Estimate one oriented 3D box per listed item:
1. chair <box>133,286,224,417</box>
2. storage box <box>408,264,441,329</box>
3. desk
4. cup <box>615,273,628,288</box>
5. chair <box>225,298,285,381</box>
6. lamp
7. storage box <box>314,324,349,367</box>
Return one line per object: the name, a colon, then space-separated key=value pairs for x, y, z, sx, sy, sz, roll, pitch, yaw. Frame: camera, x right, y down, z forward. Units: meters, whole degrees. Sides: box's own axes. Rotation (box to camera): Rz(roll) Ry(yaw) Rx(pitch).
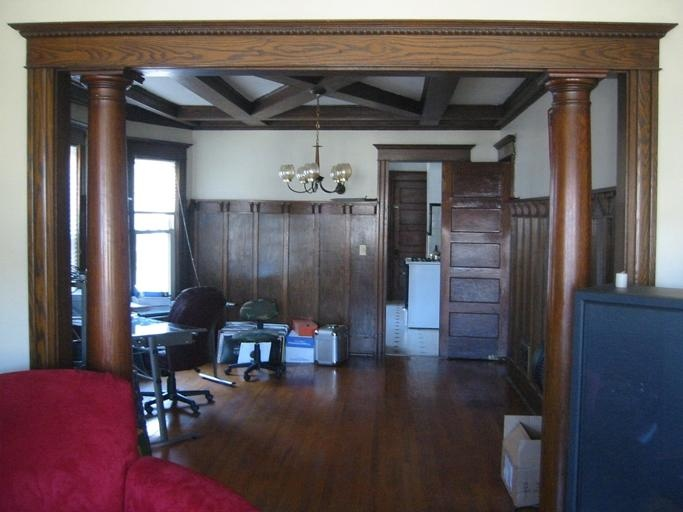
chair: x=-1.564 y=0.834 z=5.566 sx=0.960 sy=1.456 sz=1.053 roll=1 pitch=-1 yaw=5
storage box: x=1.439 y=0.710 z=9.267 sx=0.572 sy=1.063 sz=0.806 roll=-1 pitch=-11 yaw=21
desk: x=-1.561 y=0.869 z=4.565 sx=0.910 sy=0.798 sz=1.585 roll=-5 pitch=8 yaw=-33
cup: x=1.496 y=0.133 z=3.060 sx=0.079 sy=0.095 sz=0.081 roll=-1 pitch=0 yaw=0
chair: x=-0.945 y=0.912 z=6.345 sx=0.638 sy=0.843 sz=0.653 roll=-2 pitch=-2 yaw=17
lamp: x=-0.284 y=-1.334 z=6.632 sx=0.769 sy=1.233 sz=0.817 roll=0 pitch=2 yaw=-43
storage box: x=-0.116 y=1.096 z=6.913 sx=0.321 sy=0.421 sz=0.567 roll=0 pitch=0 yaw=20
